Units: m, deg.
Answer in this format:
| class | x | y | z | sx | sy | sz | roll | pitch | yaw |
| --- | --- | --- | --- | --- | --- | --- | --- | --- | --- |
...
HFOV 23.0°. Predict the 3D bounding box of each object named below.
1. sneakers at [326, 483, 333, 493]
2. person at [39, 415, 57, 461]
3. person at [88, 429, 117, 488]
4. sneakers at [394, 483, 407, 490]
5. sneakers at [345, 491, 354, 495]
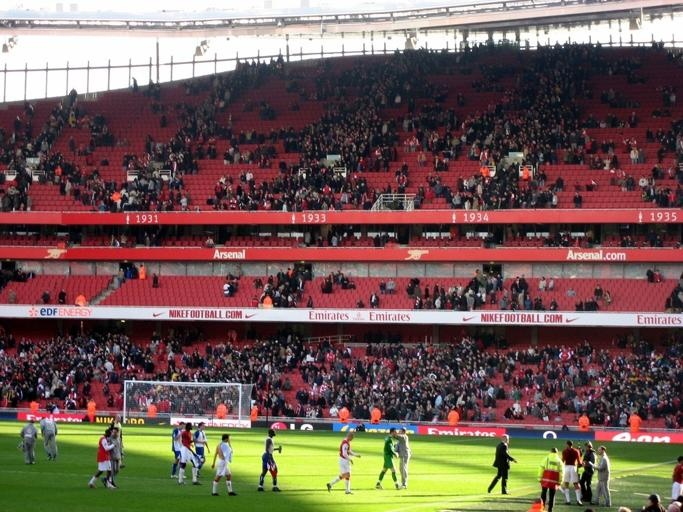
| class | x | y | z | sx | sy | sz | roll | pitch | yaw |
| --- | --- | --- | --- | --- | --- | --- | --- | --- | --- |
| sneakers | -0.541 | 11.190 | 81.076 | 0.158 | 0.425 | 0.127 | -4 | 12 | -11 |
| person | -14.918 | 9.373 | 86.640 | 0.734 | 2.482 | 0.706 | -2 | -32 | -18 |
| person | -11.367 | 9.825 | 81.031 | 1.065 | 2.714 | 0.787 | -3 | 12 | -11 |
| sneakers | 2.909 | 11.294 | 82.125 | 0.548 | 0.288 | 0.205 | -5 | -3 | 3 |
| sneakers | 0.380 | 11.432 | 81.218 | 0.378 | 0.195 | 0.139 | -4 | 8 | -9 |
